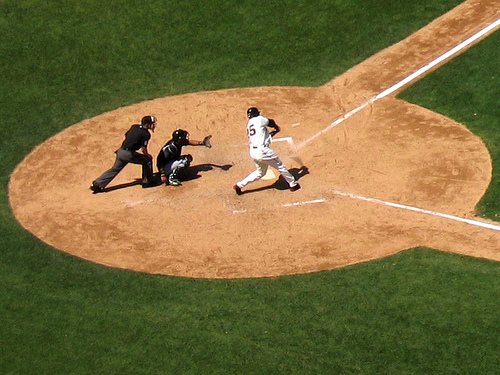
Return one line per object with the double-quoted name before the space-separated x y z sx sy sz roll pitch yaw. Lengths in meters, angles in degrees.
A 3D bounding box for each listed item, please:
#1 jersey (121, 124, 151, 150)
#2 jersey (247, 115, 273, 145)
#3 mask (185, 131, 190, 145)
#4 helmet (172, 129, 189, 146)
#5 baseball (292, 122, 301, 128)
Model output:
"jersey" -3.499 -1.540 20.761 0.789 0.427 0.721 44 110 25
"jersey" 0.264 -1.715 20.150 0.909 0.516 0.856 -22 68 36
"mask" -1.963 -1.519 20.737 0.122 0.231 0.316 3 93 -5
"helmet" -2.121 -1.532 20.705 0.512 0.502 0.366 -9 58 16
"baseball" 1.522 -2.090 22.344 0.297 0.137 0.188 -19 80 -2
